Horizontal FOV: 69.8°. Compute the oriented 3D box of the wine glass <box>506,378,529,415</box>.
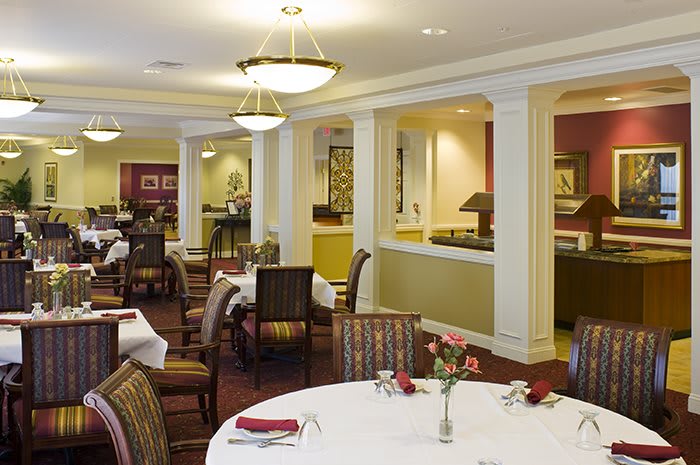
[{"bbox_3d":[0.894,0.876,2.676,0.101,0.173,0.058,2,9,16],"label":"wine glass"}]

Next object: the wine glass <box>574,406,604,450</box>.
[{"bbox_3d":[1.149,0.934,2.402,0.115,0.161,0.148,3,10,25],"label":"wine glass"}]

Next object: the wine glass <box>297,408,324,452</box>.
[{"bbox_3d":[-0.182,0.928,2.389,0.160,0.167,0.154,0,-2,-18],"label":"wine glass"}]

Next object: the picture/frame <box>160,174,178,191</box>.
[{"bbox_3d":[-6.867,-1.933,18.968,0.657,0.670,0.045,-5,27,-35],"label":"picture/frame"}]

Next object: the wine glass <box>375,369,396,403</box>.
[{"bbox_3d":[0.183,0.876,2.881,0.150,0.184,0.163,1,-5,-9],"label":"wine glass"}]

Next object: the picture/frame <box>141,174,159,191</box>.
[{"bbox_3d":[-7.437,-1.887,18.568,0.669,0.535,0.045,0,7,-37],"label":"picture/frame"}]

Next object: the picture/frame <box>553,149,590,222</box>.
[{"bbox_3d":[4.087,-1.109,9.257,0.157,0.773,0.657,-6,10,-30],"label":"picture/frame"}]
